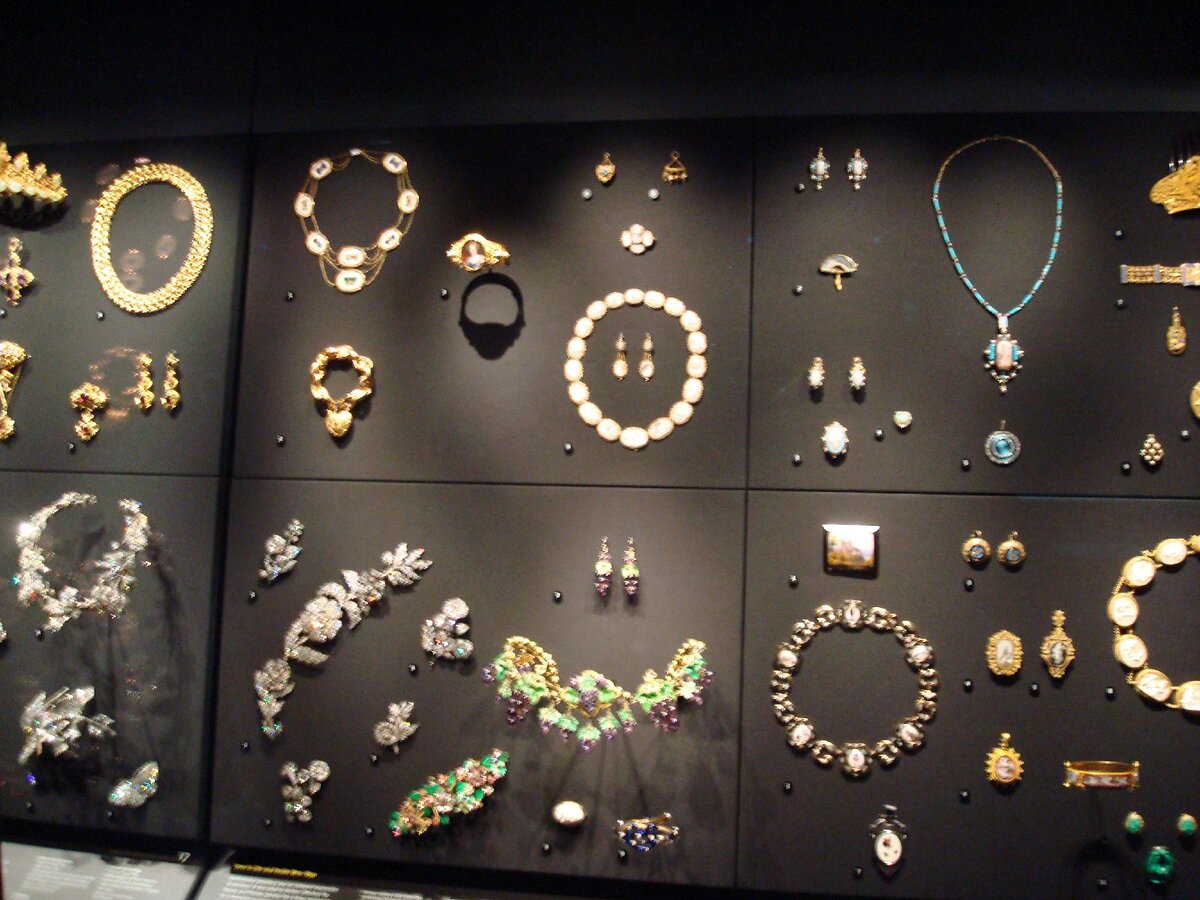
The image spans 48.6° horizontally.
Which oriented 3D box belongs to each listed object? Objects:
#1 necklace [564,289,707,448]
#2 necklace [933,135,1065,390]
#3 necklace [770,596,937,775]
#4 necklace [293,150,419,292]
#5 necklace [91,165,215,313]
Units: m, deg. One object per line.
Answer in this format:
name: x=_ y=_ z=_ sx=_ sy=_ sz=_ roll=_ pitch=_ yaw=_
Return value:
necklace: x=0.148 y=-0.329 z=5.670 sx=0.579 sy=0.077 sz=0.687 roll=4 pitch=-91 yaw=7
necklace: x=1.682 y=-0.751 z=5.608 sx=0.485 sy=0.289 sz=1.134 roll=2 pitch=-82 yaw=21
necklace: x=1.067 y=1.006 z=5.571 sx=0.659 sy=0.280 sz=0.738 roll=4 pitch=-86 yaw=13
necklace: x=-1.055 y=-1.023 z=5.794 sx=0.546 sy=0.186 sz=0.588 roll=-24 pitch=-79 yaw=8
necklace: x=-1.906 y=-0.898 z=5.599 sx=0.500 sy=0.063 sz=0.633 roll=0 pitch=-83 yaw=7
